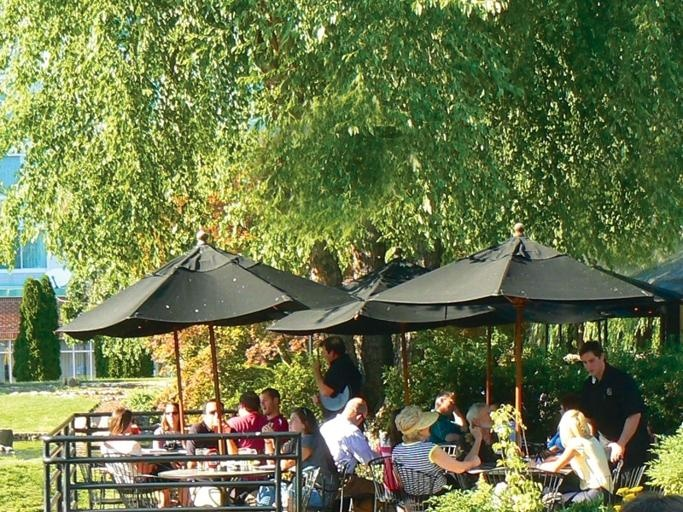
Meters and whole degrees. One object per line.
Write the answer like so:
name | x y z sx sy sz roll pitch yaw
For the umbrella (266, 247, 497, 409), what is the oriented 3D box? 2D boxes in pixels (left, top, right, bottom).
umbrella | 0.966 1.516 21.110 2.217 1.965 2.576 -4 -12 -10

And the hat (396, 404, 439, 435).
hat | 1.002 2.234 18.505 0.453 0.251 0.367 -24 28 -12

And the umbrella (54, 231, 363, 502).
umbrella | -1.928 1.472 19.413 2.633 2.594 2.813 -7 -6 -8
